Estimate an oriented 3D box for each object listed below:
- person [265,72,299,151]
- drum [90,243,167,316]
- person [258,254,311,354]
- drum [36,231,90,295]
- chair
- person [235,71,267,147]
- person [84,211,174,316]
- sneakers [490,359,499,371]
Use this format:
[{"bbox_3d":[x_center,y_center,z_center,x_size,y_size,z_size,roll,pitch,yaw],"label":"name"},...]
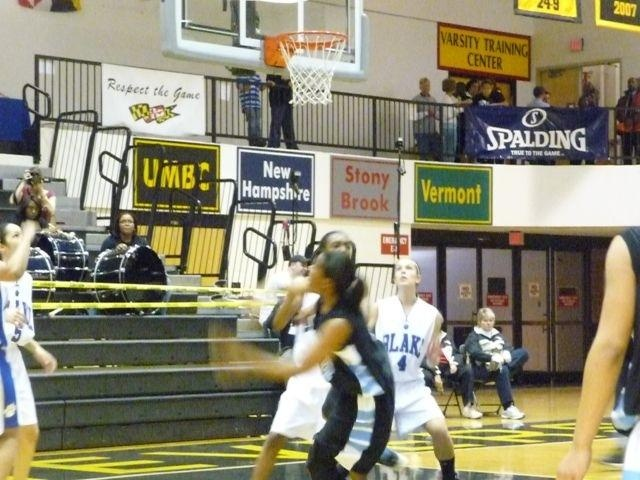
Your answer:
[{"bbox_3d":[-0.671,-2.192,16.423,0.494,1.197,0.836,2,0,24],"label":"person"},{"bbox_3d":[-2.566,0.453,12.041,0.452,0.654,0.629,-1,-14,1],"label":"drum"},{"bbox_3d":[-0.274,0.656,9.485,0.507,1.085,0.410,6,6,37],"label":"person"},{"bbox_3d":[-3.190,0.332,11.945,0.491,0.700,0.674,-1,-15,-17],"label":"drum"},{"bbox_3d":[2.106,1.974,14.267,1.103,1.804,1.106,-4,-7,31],"label":"chair"},{"bbox_3d":[-1.135,-2.195,15.712,0.458,1.146,1.397,2,0,-3],"label":"person"},{"bbox_3d":[-2.402,0.466,12.202,1.059,1.727,0.951,6,2,37],"label":"person"},{"bbox_3d":[2.486,1.782,13.505,0.111,0.146,0.084,38,15,-14],"label":"sneakers"}]
